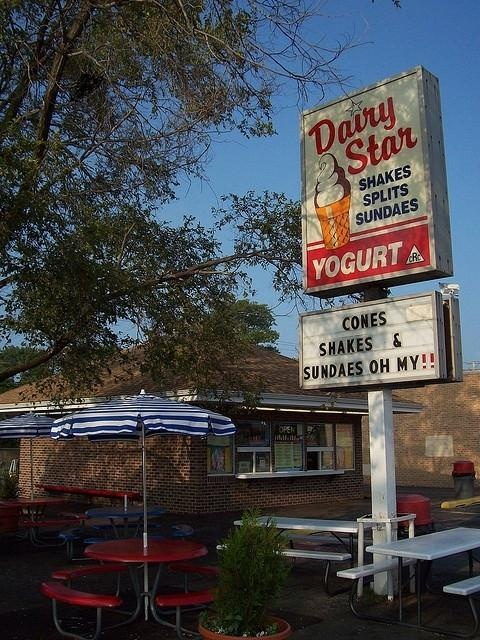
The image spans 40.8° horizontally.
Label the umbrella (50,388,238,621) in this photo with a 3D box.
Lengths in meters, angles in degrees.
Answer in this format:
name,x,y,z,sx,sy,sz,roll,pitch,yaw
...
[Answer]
name,x,y,z,sx,sy,sz,roll,pitch,yaw
umbrella,-1.336,2.005,7.550,2.131,2.479,2.256,-5,-13,26
